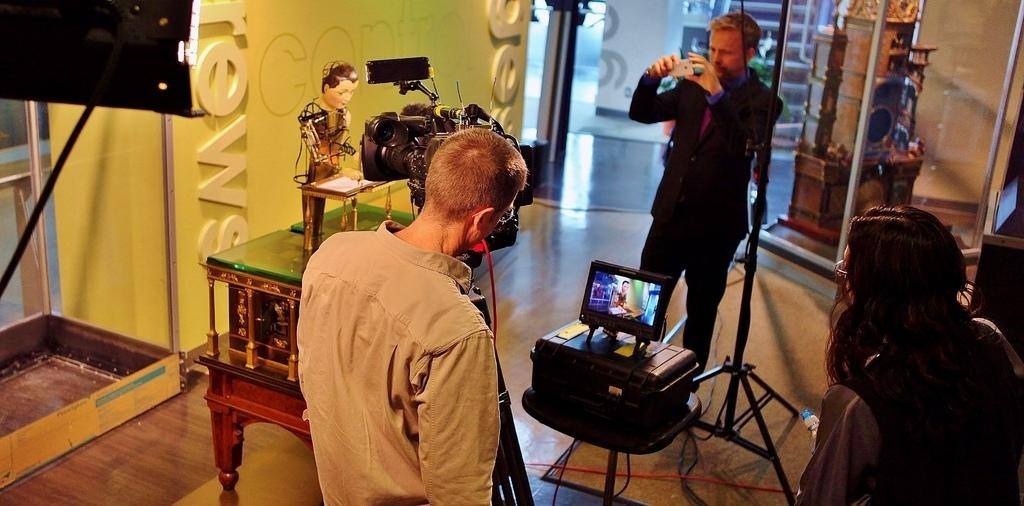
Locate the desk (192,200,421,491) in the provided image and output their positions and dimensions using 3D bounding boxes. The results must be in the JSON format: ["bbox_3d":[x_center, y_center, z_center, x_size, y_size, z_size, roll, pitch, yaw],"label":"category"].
[{"bbox_3d":[-1.711,0.391,4.903,1.182,1.470,1.896,13,21,30],"label":"desk"}]

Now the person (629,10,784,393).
[{"bbox_3d":[1.261,-0.331,5.272,1.109,2.650,0.973,13,21,17],"label":"person"}]

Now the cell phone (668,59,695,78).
[{"bbox_3d":[1.168,-1.266,4.773,0.165,0.113,0.074,-2,14,-18],"label":"cell phone"}]
